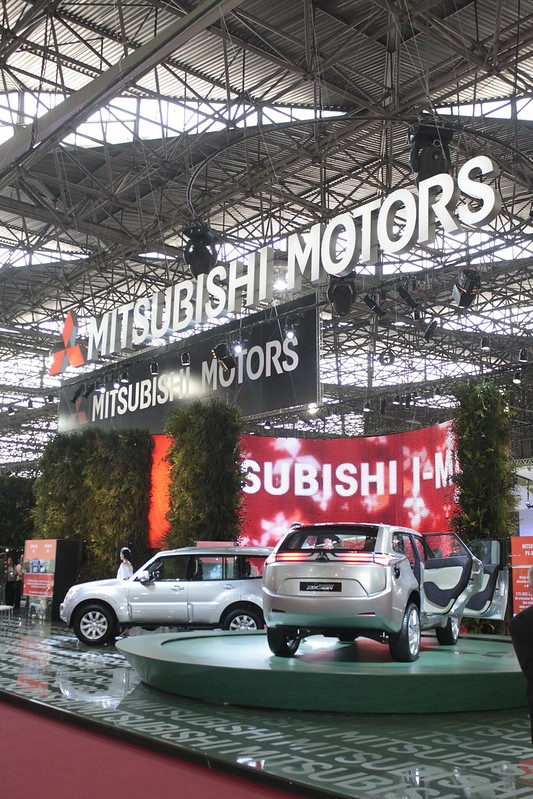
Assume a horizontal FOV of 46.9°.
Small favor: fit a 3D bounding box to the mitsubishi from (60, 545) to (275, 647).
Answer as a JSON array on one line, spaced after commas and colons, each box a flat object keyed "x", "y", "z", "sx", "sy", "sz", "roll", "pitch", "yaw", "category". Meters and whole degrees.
[{"x": -1.483, "y": 2.941, "z": 9.590, "sx": 3.177, "sy": 1.519, "sz": 1.532, "roll": 2, "pitch": -12, "yaw": 7, "category": "mitsubishi"}]

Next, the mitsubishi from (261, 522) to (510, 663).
[{"x": 0.990, "y": 1.571, "z": 5.787, "sx": 1.518, "sy": 0.970, "sz": 2.224, "roll": -6, "pitch": -10, "yaw": 30, "category": "mitsubishi"}]

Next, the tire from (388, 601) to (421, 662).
[{"x": 1.205, "y": 2.020, "z": 5.359, "sx": 0.147, "sy": 0.508, "sz": 0.485, "roll": -5, "pitch": 0, "yaw": 29, "category": "tire"}]
